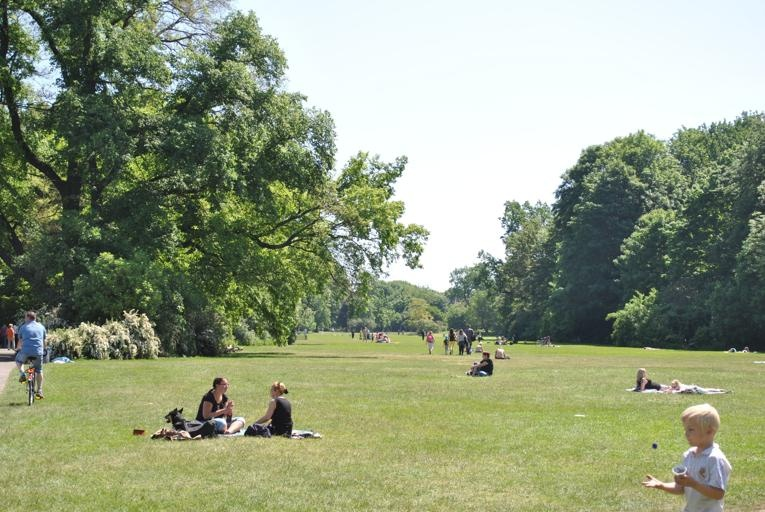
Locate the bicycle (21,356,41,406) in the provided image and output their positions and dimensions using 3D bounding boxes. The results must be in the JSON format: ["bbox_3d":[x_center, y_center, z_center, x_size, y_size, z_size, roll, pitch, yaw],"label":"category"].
[{"bbox_3d":[-16.785,6.003,59.484,0.749,2.184,1.074,7,-8,-17],"label":"bicycle"}]

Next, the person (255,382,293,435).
[{"bbox_3d":[-4.698,6.904,56.068,1.514,2.344,1.073,6,-8,-8],"label":"person"}]
